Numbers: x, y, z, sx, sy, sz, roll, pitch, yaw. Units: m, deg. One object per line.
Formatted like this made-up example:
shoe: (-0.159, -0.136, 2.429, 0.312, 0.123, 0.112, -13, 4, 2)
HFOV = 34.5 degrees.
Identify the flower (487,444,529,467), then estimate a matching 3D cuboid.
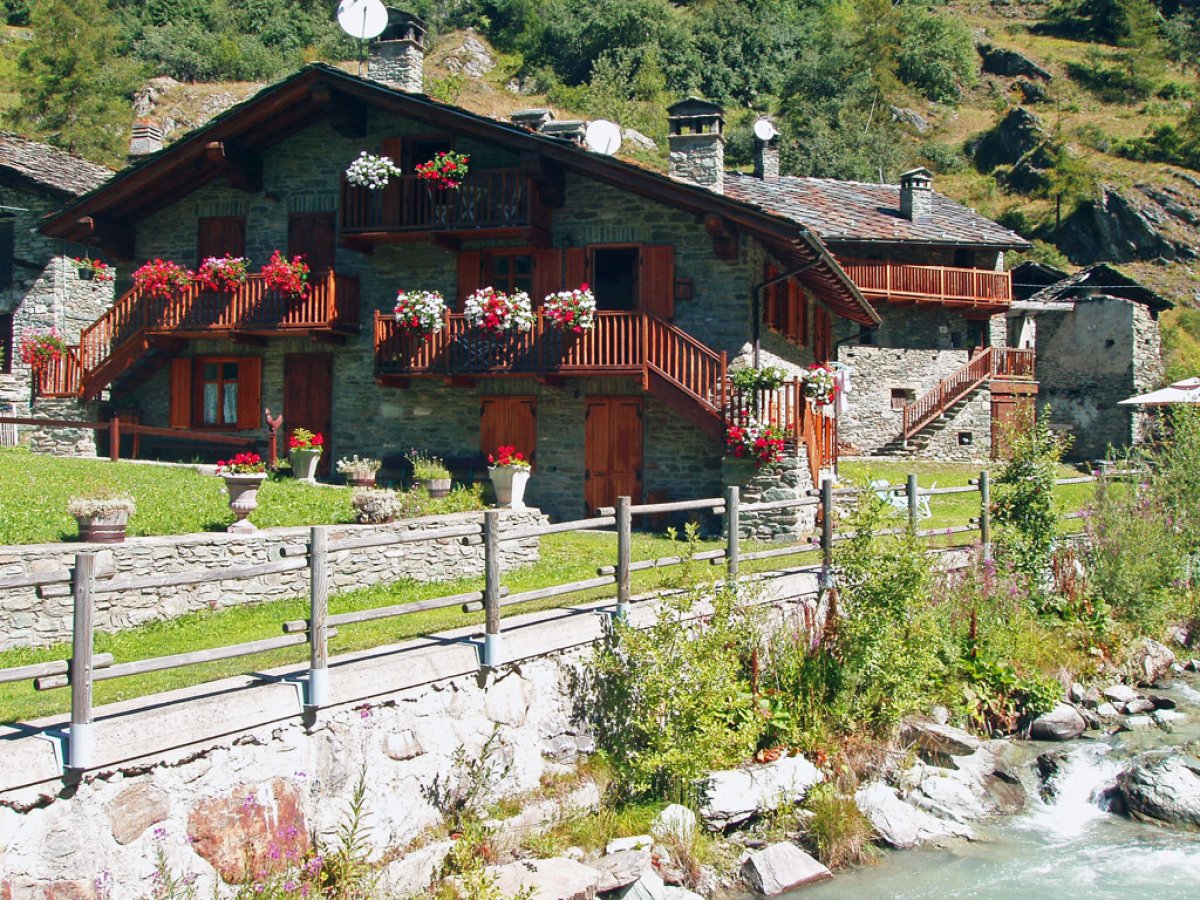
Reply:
flower: (-2.031, 0.223, 43.582, 0.644, 0.373, 0.666, 1, 0, 39)

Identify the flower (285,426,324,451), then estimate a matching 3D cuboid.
flower: (-7.072, -0.163, 45.979, 0.673, 0.638, 0.836, 1, -1, -2)

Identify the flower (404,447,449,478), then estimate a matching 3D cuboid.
flower: (-4.397, 0.480, 47.890, 0.805, 0.535, 0.840, 1, 5, 4)
